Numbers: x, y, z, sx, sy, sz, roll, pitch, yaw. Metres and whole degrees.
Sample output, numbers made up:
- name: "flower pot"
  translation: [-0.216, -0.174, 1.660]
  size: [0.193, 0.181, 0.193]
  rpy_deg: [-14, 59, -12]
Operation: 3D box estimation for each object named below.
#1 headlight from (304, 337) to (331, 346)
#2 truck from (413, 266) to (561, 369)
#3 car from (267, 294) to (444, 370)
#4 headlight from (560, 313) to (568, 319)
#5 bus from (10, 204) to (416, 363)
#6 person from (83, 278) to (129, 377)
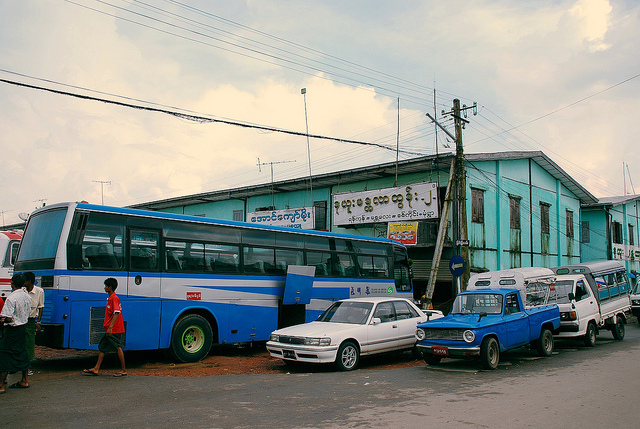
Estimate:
- name: "headlight"
  translation: [-0.065, 3.610, 15.201]
  size: [0.733, 0.208, 0.123]
  rpy_deg: [0, -4, 2]
- name: "truck"
  translation: [5.640, 3.240, 17.563]
  size: [5.250, 2.570, 2.564]
  rpy_deg: [-1, -4, -38]
- name: "car"
  translation: [1.360, 3.652, 16.680]
  size: [5.038, 1.463, 2.115]
  rpy_deg: [3, -8, -42]
- name: "headlight"
  translation: [8.643, 3.572, 18.928]
  size: [0.263, 0.240, 0.064]
  rpy_deg: [0, -3, 33]
- name: "bus"
  translation: [-2.913, 2.813, 20.770]
  size: [3.819, 4.342, 15.626]
  rpy_deg: [-5, -10, 42]
- name: "person"
  translation: [-5.762, 3.110, 14.791]
  size: [0.767, 2.700, 0.802]
  rpy_deg: [2, -4, -29]
